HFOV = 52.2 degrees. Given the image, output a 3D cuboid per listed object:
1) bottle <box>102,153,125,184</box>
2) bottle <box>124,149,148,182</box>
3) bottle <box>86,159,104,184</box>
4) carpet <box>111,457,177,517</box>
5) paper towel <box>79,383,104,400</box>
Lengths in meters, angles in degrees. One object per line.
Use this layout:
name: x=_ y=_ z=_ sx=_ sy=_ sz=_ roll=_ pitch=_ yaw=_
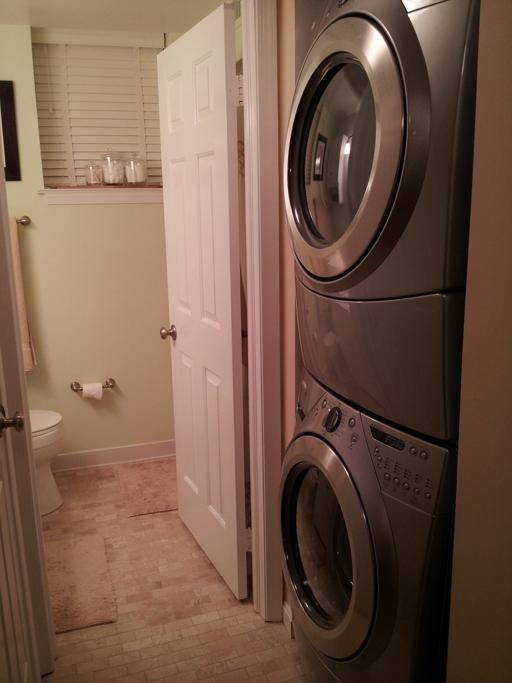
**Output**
bottle: x=-0.808 y=-0.979 z=2.954 sx=0.110 sy=0.282 sz=0.137 roll=-4 pitch=15 yaw=-21
bottle: x=-0.695 y=-1.006 z=3.005 sx=0.098 sy=0.235 sz=0.118 roll=11 pitch=25 yaw=20
bottle: x=-0.916 y=-0.948 z=2.960 sx=0.102 sy=0.129 sz=0.062 roll=-2 pitch=6 yaw=-7
carpet: x=-0.613 y=0.788 z=2.888 sx=0.351 sy=0.028 sz=0.707 roll=-3 pitch=9 yaw=-14
paper towel: x=-0.960 y=0.277 z=3.046 sx=0.096 sy=0.135 sz=0.084 roll=-1 pitch=2 yaw=-20
